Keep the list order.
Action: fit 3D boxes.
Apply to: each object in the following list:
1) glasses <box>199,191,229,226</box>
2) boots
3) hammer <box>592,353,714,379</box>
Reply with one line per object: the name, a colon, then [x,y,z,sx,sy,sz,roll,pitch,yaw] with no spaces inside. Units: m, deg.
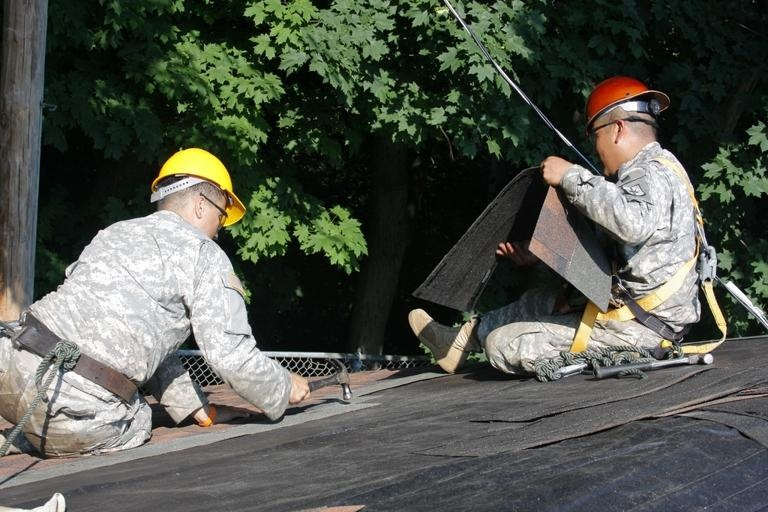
glasses: [-1.251,-0.352,7.122,0.059,0.190,0.199,-41,71,-12]
boots: [0.526,0.743,8.483,0.277,0.457,0.728,-4,11,-34]
hammer: [1.984,0.808,7.196,0.889,0.097,0.144,-9,13,-11]
